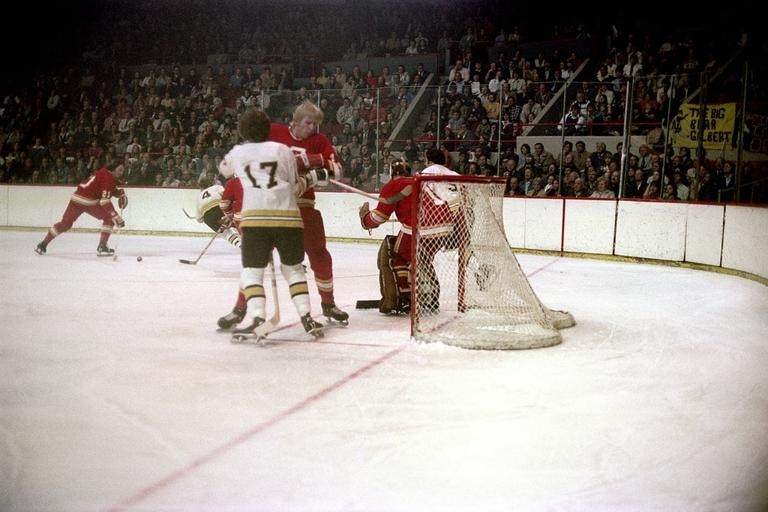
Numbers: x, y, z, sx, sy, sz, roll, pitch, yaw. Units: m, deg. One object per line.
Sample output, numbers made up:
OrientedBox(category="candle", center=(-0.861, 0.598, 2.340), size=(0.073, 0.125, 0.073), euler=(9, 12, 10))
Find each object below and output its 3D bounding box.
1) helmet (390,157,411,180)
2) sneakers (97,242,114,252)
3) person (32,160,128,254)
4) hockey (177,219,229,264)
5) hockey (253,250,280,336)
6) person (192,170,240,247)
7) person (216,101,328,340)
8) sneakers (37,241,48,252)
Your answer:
OrientedBox(category="helmet", center=(0.182, -0.991, 7.189), size=(0.185, 0.242, 0.219), euler=(1, 0, 2))
OrientedBox(category="sneakers", center=(-4.987, -0.131, 11.403), size=(0.255, 0.211, 0.318), euler=(-4, 12, -25))
OrientedBox(category="person", center=(-5.262, -0.823, 11.513), size=(1.537, 1.532, 0.911), euler=(3, 11, 8))
OrientedBox(category="hockey", center=(-2.919, -0.179, 10.639), size=(0.594, 0.910, 0.335), euler=(43, 7, 24))
OrientedBox(category="hockey", center=(-1.155, 0.381, 6.209), size=(0.238, 0.091, 0.965), euler=(-7, 35, -5))
OrientedBox(category="person", center=(-2.671, -0.894, 9.874), size=(0.438, 1.417, 0.681), euler=(-28, 53, -33))
OrientedBox(category="person", center=(-1.048, -0.287, 5.901), size=(0.785, 2.098, 0.635), euler=(-2, 12, -16))
OrientedBox(category="sneakers", center=(-6.115, -0.151, 11.375), size=(0.185, 0.229, 0.312), euler=(-6, 13, -32))
